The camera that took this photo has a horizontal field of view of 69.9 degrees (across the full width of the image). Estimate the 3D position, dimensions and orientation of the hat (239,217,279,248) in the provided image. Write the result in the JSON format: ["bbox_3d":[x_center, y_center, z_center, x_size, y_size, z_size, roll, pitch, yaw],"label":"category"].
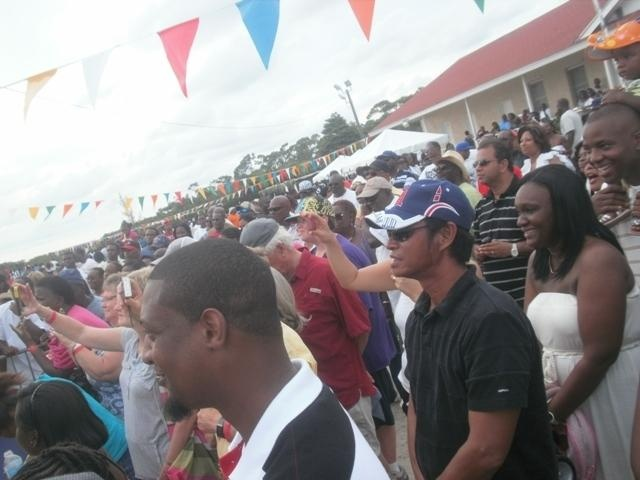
[{"bbox_3d":[-0.498,-0.065,3.807,0.353,0.227,0.278,-19,6,-29],"label":"hat"}]
